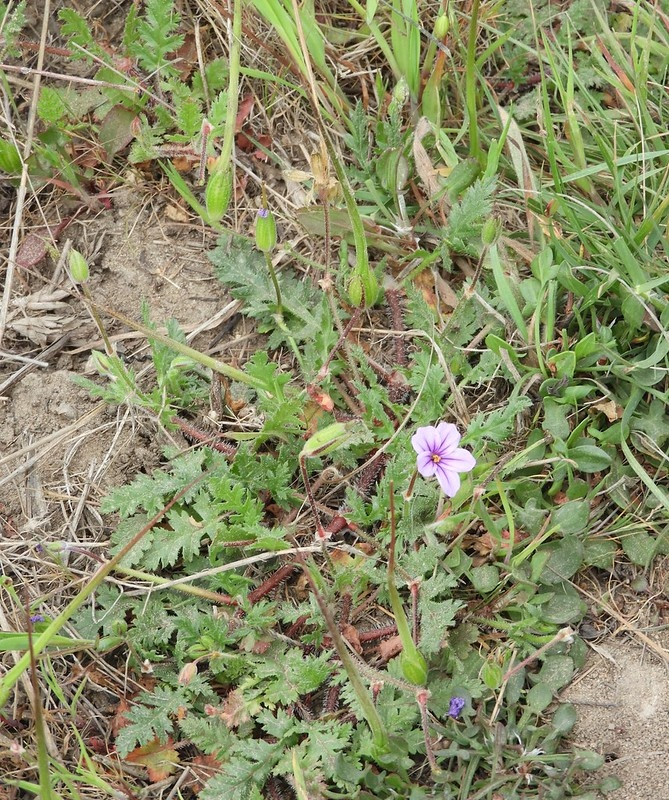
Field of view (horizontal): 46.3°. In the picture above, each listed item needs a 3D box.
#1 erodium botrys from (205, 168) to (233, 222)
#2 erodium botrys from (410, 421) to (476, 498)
[{"bbox_3d":[-0.291,-0.497,1.930,0.082,0.137,0.047,7,7,6],"label":"erodium botrys"},{"bbox_3d":[0.235,0.109,1.813,0.182,0.051,0.194,-3,20,14],"label":"erodium botrys"}]
